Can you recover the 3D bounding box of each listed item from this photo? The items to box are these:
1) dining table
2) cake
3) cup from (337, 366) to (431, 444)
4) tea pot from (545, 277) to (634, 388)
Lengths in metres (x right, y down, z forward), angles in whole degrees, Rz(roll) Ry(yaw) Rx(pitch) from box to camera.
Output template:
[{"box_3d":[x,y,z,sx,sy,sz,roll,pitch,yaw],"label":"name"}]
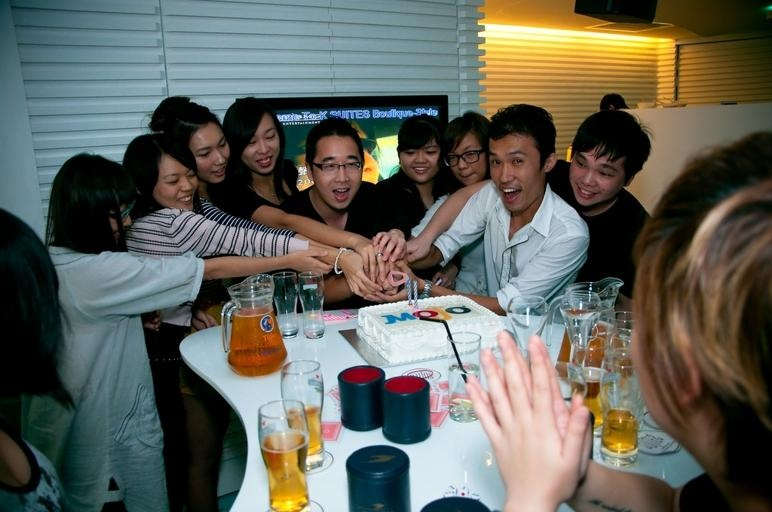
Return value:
[{"box_3d":[-0.009,0.274,1.420,0.675,0.220,0.919,-7,19,-23],"label":"dining table"},{"box_3d":[0.184,0.277,2.089,0.391,0.115,0.291,-6,15,-18],"label":"cake"},{"box_3d":[-0.010,0.459,1.707,0.299,0.171,0.159,8,18,32],"label":"cup"},{"box_3d":[0.691,0.232,1.887,0.389,0.403,0.232,-1,-1,7],"label":"tea pot"}]
